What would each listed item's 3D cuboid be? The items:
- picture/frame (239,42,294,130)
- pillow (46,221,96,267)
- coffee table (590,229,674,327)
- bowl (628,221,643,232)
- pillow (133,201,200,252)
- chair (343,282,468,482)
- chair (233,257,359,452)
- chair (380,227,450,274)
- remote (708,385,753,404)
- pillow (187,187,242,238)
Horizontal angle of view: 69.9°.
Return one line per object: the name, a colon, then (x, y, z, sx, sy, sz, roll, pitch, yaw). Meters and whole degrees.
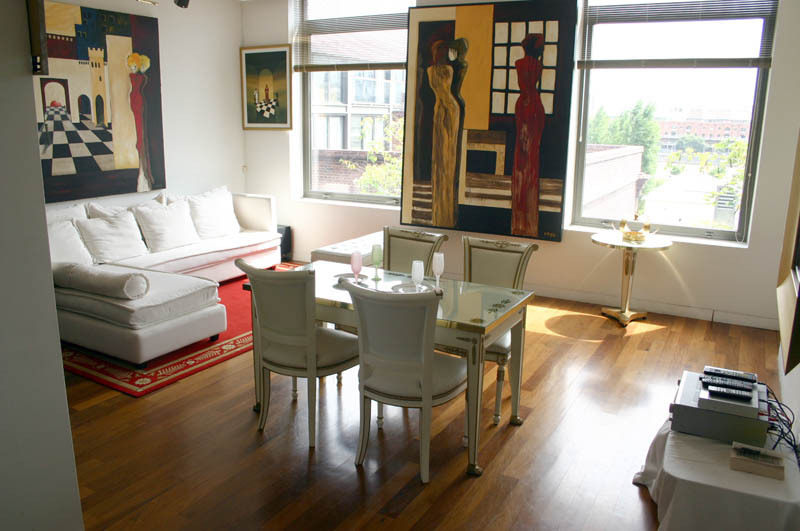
picture/frame: (-1.800, -2.386, 7.732, 0.791, 1.060, 0.154, 6, 18, 24)
pillow: (-3.131, -0.199, 5.422, 0.135, 0.443, 0.489, -18, -8, 33)
coffee table: (2.344, 0.106, 5.898, 0.732, 0.882, 0.707, 7, 18, 25)
bowl: (2.326, -0.383, 5.656, 0.109, 0.076, 0.094, 4, 9, 28)
pillow: (-2.700, -0.436, 6.533, 0.239, 0.410, 0.517, 11, 20, 38)
chair: (0.038, 0.683, 3.748, 0.718, 1.191, 0.739, 6, 13, 26)
chair: (-0.654, 0.546, 4.063, 0.744, 1.254, 0.867, 6, 13, 15)
chair: (0.137, -0.180, 4.962, 0.418, 0.632, 0.436, 7, 14, 26)
remote: (1.921, 0.744, 3.320, 0.138, 0.034, 0.093, 11, 17, 43)
pillow: (-2.302, -0.643, 7.069, 0.182, 0.592, 0.620, -13, 1, 35)
